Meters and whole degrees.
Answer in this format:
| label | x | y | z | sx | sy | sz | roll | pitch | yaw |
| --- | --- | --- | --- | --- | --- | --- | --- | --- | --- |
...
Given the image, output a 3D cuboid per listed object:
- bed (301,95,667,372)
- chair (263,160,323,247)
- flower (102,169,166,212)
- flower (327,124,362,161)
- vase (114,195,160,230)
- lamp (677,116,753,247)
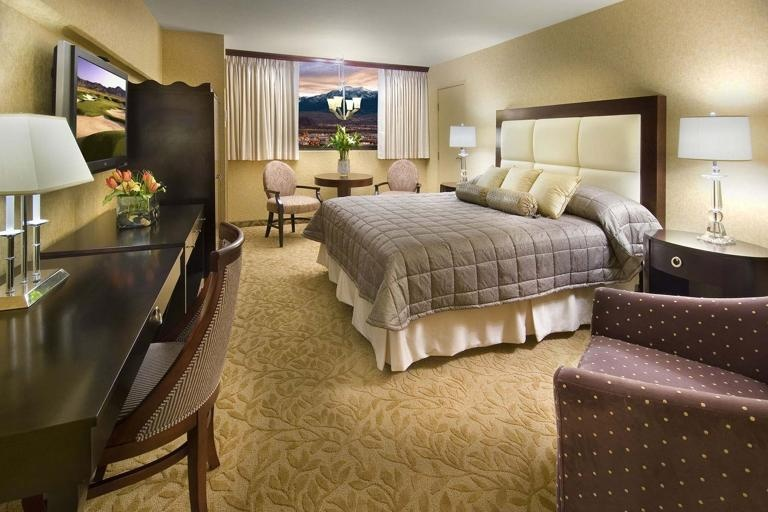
| label | x | y | z | sx | sy | sz | roll | pitch | yaw |
| --- | --- | --- | --- | --- | --- | --- | --- | --- | --- |
| bed | 0.981 | -0.146 | 4.488 | 2.596 | 1.786 | 2.644 | -6 | 12 | -22 |
| chair | -1.325 | -0.751 | 6.706 | 0.789 | 1.047 | 0.823 | 5 | 13 | 14 |
| flower | -1.762 | -0.478 | 3.422 | 0.458 | 0.310 | 0.460 | 2 | 8 | -29 |
| flower | -0.583 | -1.606 | 7.061 | 0.365 | 0.422 | 0.380 | -3 | 0 | -33 |
| vase | -1.648 | -0.310 | 3.287 | 0.238 | 0.250 | 0.241 | 7 | 9 | 8 |
| lamp | 2.452 | -0.576 | 3.557 | 0.517 | 0.882 | 0.450 | -8 | 15 | -30 |
